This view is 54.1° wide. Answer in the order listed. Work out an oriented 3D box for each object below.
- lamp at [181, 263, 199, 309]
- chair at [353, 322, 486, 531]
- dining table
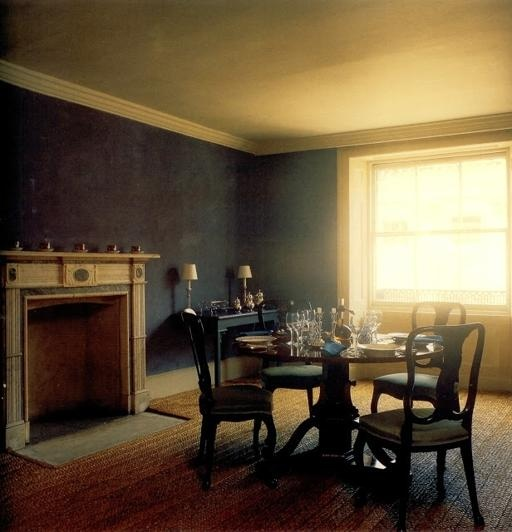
[{"bbox_3d":[-0.664,0.203,5.039,0.163,0.365,0.409,-1,0,-8],"label":"lamp"},{"bbox_3d":[0.909,0.750,2.742,0.734,0.967,1.059,-1,0,10],"label":"chair"},{"bbox_3d":[0.379,0.798,2.878,0.770,0.590,0.869,0,-3,27],"label":"dining table"}]
